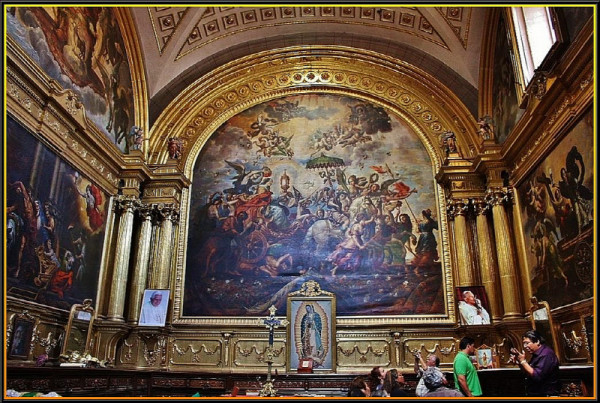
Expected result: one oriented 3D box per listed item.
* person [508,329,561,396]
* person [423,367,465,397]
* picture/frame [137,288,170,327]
[{"bbox_3d":[3.645,2.494,6.792,0.639,0.960,0.531,-1,-24,3],"label":"person"},{"bbox_3d":[2.268,2.896,7.018,0.521,0.425,0.795,-4,-24,10],"label":"person"},{"bbox_3d":[-4.340,3.112,12.914,0.791,1.101,0.313,3,-24,-7],"label":"picture/frame"}]
